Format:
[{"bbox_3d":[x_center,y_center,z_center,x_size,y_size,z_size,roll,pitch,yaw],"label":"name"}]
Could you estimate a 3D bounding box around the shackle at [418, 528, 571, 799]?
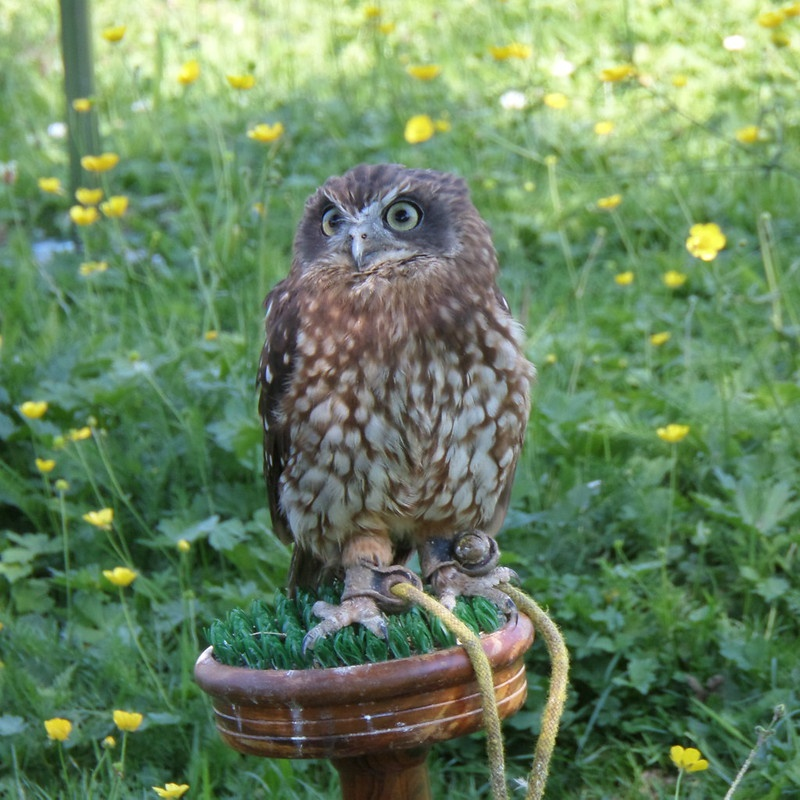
[{"bbox_3d":[0.240,0.598,3.304,0.375,0.673,0.199,-7,-10,-8],"label":"shackle"}]
